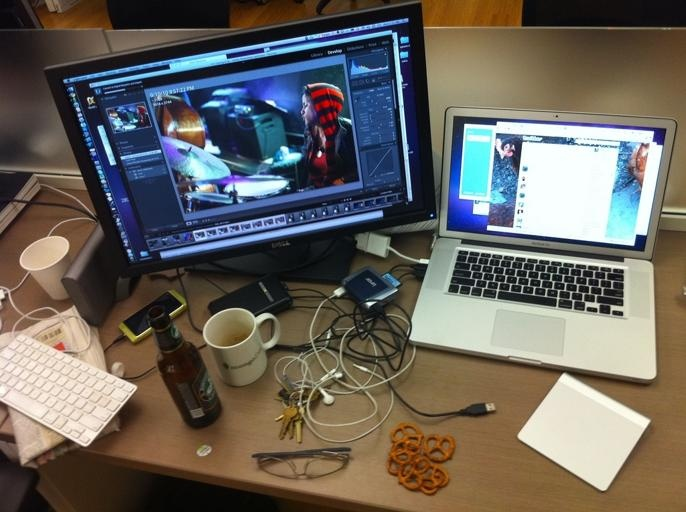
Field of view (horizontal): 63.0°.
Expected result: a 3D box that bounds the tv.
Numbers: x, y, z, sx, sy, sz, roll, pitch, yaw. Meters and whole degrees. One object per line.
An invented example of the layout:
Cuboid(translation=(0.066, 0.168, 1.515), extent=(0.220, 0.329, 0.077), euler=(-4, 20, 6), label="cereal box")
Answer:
Cuboid(translation=(-0.219, -0.231, 1.281), extent=(0.611, 0.539, 0.084), euler=(-11, 43, -5), label="tv")

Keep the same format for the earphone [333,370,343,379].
Cuboid(translation=(-0.013, 0.257, 1.209), extent=(0.012, 0.007, 0.016), euler=(-2, 55, 2), label="earphone")

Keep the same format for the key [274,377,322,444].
Cuboid(translation=(-0.105, 0.318, 1.150), extent=(0.076, 0.020, 0.106), euler=(4, 53, 5), label="key")

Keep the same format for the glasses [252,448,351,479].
Cuboid(translation=(-0.083, 0.406, 1.093), extent=(0.194, 0.021, 0.053), euler=(-2, 39, 5), label="glasses")
